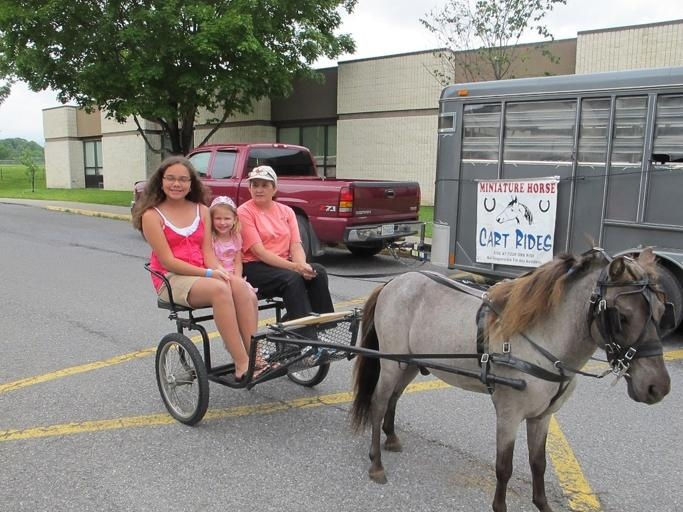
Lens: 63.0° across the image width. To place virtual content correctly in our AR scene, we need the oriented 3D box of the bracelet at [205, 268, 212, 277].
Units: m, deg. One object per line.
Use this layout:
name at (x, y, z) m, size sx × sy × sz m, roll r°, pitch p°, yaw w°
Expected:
bracelet at (-1.214, 0.155, 5.066) m, size 0.066 × 0.077 × 0.048 m, roll 19°, pitch 14°, yaw 35°

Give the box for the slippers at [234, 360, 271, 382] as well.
slippers at (-0.780, 0.988, 4.835) m, size 0.282 × 0.101 × 0.145 m, roll -18°, pitch 11°, yaw -11°

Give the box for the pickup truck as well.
pickup truck at (-1.315, -1.261, 11.894) m, size 5.127 × 1.949 × 2.735 m, roll 9°, pitch 10°, yaw 39°
